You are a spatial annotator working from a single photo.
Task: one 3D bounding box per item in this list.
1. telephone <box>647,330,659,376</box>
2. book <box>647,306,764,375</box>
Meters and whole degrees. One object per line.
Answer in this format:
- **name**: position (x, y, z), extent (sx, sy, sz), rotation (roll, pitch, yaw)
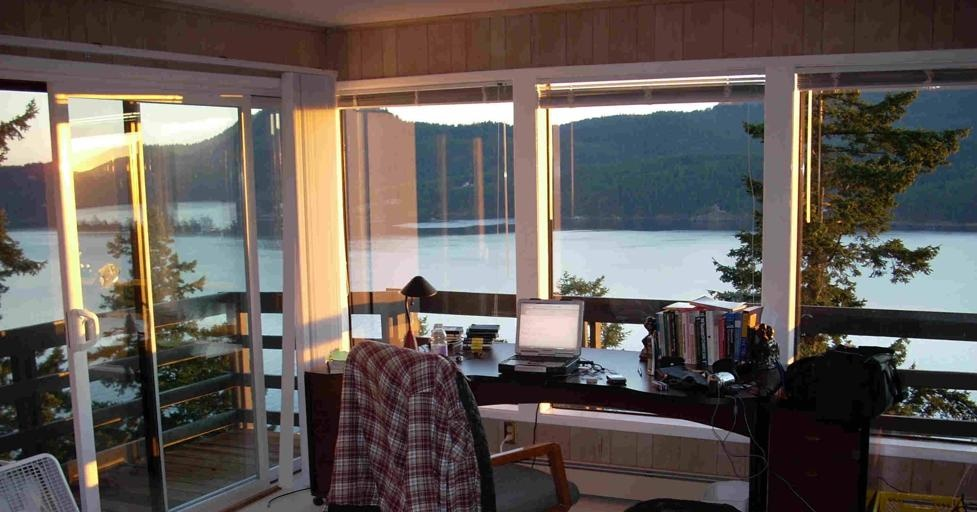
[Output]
- **telephone**: position (1.383, 0.802, 6.473), extent (0.098, 0.273, 0.222), rotation (1, 1, 15)
- **book**: position (1.797, 0.668, 6.501), extent (0.918, 0.567, 0.595), rotation (2, 6, 22)
